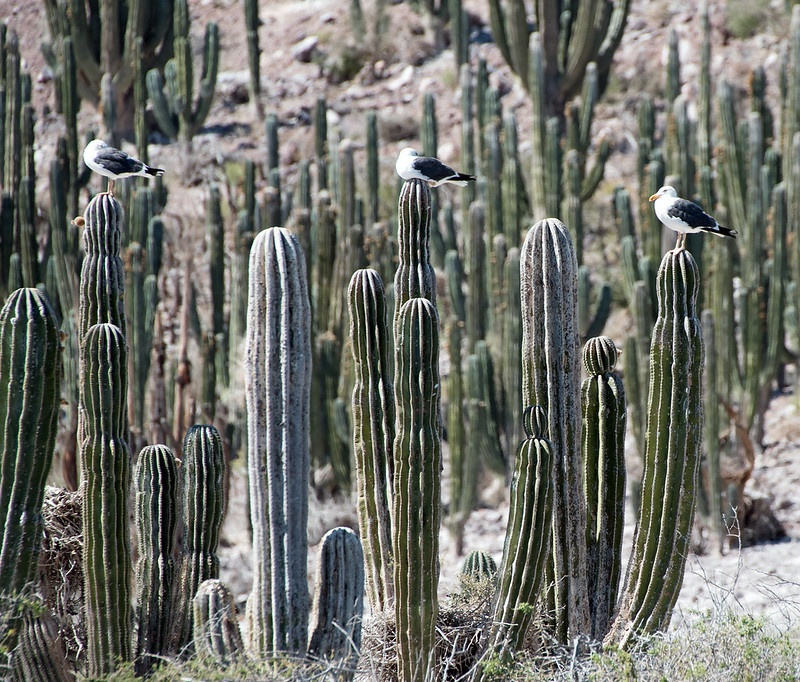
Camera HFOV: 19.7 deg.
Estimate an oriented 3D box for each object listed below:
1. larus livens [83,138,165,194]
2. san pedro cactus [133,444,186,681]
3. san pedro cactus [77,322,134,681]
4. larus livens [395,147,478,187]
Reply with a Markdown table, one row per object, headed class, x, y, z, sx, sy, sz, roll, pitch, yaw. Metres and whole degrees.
| class | x | y | z | sx | sy | sz | roll | pitch | yaw |
| --- | --- | --- | --- | --- | --- | --- | --- | --- | --- |
| larus livens | -2.301 | -1.424 | 19.039 | 0.601 | 0.421 | 0.607 | 1 | 4 | -13 |
| san pedro cactus | -1.983 | 1.768 | 18.640 | 0.346 | 1.811 | 0.302 | -1 | 2 | 40 |
| san pedro cactus | -2.335 | 1.276 | 18.331 | 0.417 | 2.771 | 0.302 | 1 | 3 | -9 |
| larus livens | 0.274 | -1.386 | 18.684 | 0.443 | 0.396 | 0.444 | -2 | 6 | 31 |
